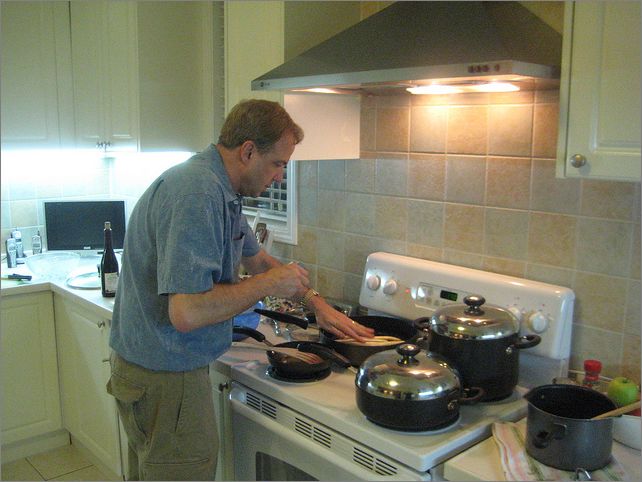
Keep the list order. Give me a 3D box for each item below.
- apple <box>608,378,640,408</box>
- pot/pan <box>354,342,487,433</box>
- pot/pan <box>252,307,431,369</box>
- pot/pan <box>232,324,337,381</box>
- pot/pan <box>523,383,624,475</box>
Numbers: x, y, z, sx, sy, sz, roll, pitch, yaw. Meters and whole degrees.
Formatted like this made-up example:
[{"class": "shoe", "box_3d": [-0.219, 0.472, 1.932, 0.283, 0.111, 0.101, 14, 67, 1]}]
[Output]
[{"class": "apple", "box_3d": [0.869, 0.438, 1.524, 0.077, 0.076, 0.073, -11, 6, -33]}, {"class": "pot/pan", "box_3d": [0.247, 0.415, 1.493, 0.416, 0.166, 0.252, 4, 10, 28]}, {"class": "pot/pan", "box_3d": [0.124, 0.344, 1.913, 0.512, 0.060, 0.241, 3, 6, 26]}, {"class": "pot/pan", "box_3d": [-0.152, 0.392, 1.899, 0.141, 0.080, 0.336, -6, 7, -43]}, {"class": "pot/pan", "box_3d": [0.651, 0.500, 1.408, 0.251, 0.171, 0.191, -8, 11, -39]}]
